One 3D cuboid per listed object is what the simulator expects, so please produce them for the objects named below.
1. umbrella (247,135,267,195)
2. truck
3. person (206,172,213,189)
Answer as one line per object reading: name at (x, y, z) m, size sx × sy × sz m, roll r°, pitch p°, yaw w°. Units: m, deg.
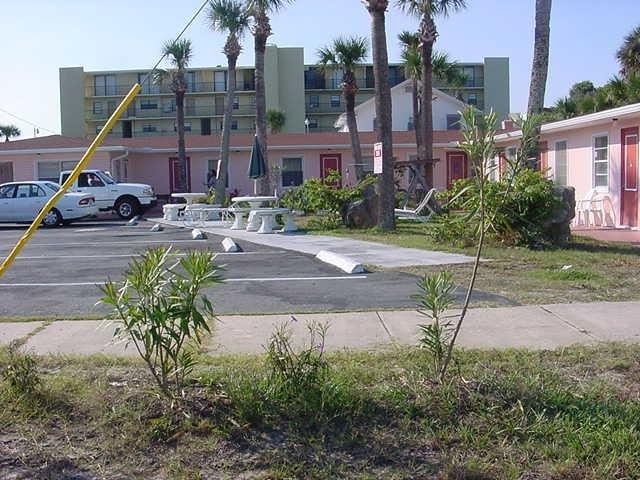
umbrella at (-1.898, -2.277, 24.986) m, size 0.591 × 1.818 × 0.625 m, roll 0°, pitch 11°, yaw -5°
truck at (-6.933, -1.606, 28.463) m, size 3.630 × 1.901 × 1.808 m, roll -2°, pitch 6°, yaw -7°
person at (-4.497, -2.531, 34.622) m, size 0.383 × 0.606 × 1.284 m, roll -1°, pitch 1°, yaw -11°
